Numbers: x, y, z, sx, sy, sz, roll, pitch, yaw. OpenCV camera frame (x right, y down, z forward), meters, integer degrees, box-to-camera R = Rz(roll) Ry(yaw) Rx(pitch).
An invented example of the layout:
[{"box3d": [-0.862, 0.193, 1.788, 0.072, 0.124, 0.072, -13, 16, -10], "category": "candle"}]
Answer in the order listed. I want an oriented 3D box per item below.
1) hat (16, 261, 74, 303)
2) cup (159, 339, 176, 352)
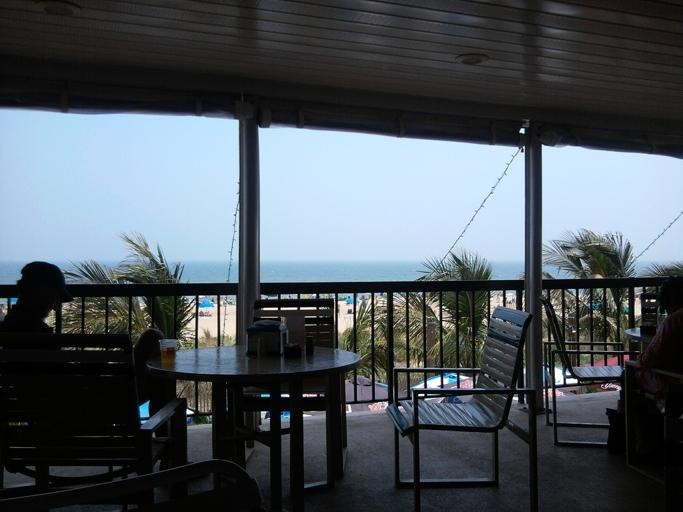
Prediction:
[{"box3d": [-1.765, 0.163, 4.114, 0.187, 0.156, 0.261, 14, -1, 41], "category": "hat"}, {"box3d": [-1.052, 0.547, 4.169, 0.081, 0.067, 0.083, -1, -6, 0], "category": "cup"}]
